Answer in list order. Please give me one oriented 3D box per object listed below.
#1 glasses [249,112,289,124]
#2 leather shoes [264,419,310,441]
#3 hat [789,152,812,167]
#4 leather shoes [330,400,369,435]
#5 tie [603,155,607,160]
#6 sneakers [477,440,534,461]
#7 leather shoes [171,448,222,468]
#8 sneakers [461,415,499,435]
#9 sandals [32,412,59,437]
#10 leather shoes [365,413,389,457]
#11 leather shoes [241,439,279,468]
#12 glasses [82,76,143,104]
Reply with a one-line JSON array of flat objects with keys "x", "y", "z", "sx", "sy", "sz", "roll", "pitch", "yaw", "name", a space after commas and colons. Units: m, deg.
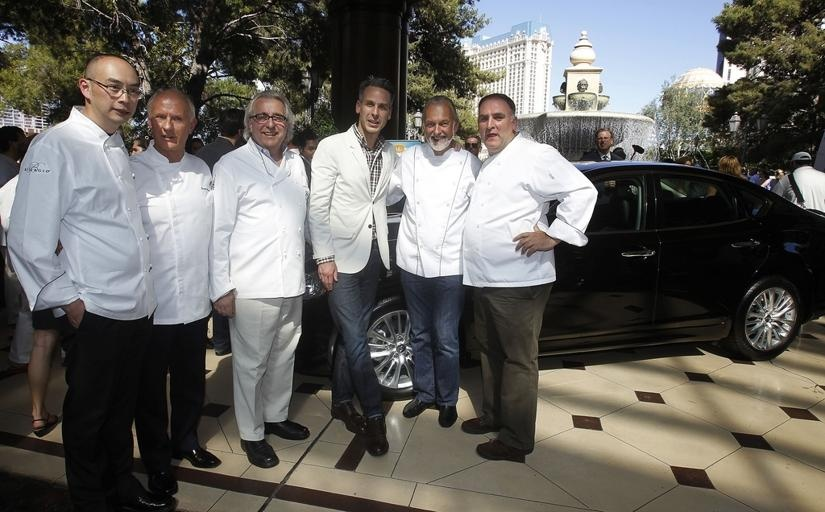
[{"x": -1.054, "y": -1.020, "z": 3.779, "sx": 0.267, "sy": 0.067, "sz": 0.069, "roll": -2, "pitch": 15, "yaw": -14, "name": "glasses"}, {"x": -0.994, "y": 1.406, "z": 4.195, "sx": 0.431, "sy": 0.175, "sz": 0.142, "roll": 1, "pitch": 5, "yaw": 2, "name": "leather shoes"}, {"x": 5.859, "y": -1.462, "z": 7.683, "sx": 0.302, "sy": 0.151, "sz": 0.425, "roll": 4, "pitch": 18, "yaw": 20, "name": "hat"}, {"x": -0.528, "y": 1.314, "z": 4.305, "sx": 0.417, "sy": 0.183, "sz": 0.142, "roll": 25, "pitch": 11, "yaw": 35, "name": "leather shoes"}, {"x": 2.758, "y": -1.412, "z": 7.309, "sx": 0.078, "sy": 0.051, "sz": 0.042, "roll": 2, "pitch": -1, "yaw": -36, "name": "tie"}, {"x": 0.715, "y": 1.510, "z": 3.940, "sx": 0.405, "sy": 0.141, "sz": 0.157, "roll": 8, "pitch": 2, "yaw": 5, "name": "sneakers"}, {"x": -1.597, "y": 1.516, "z": 3.902, "sx": 0.404, "sy": 0.156, "sz": 0.140, "roll": 6, "pitch": 1, "yaw": -6, "name": "leather shoes"}, {"x": 0.547, "y": 1.400, "z": 4.211, "sx": 0.331, "sy": 0.124, "sz": 0.129, "roll": 3, "pitch": -2, "yaw": 7, "name": "sneakers"}, {"x": -2.983, "y": 1.359, "z": 4.131, "sx": 0.100, "sy": 0.091, "sz": 0.253, "roll": -1, "pitch": 7, "yaw": -5, "name": "sandals"}, {"x": -0.267, "y": 1.410, "z": 3.934, "sx": 0.133, "sy": 0.137, "sz": 0.351, "roll": -1, "pitch": 0, "yaw": -5, "name": "leather shoes"}, {"x": -1.156, "y": 1.497, "z": 3.905, "sx": 0.359, "sy": 0.137, "sz": 0.134, "roll": 3, "pitch": 2, "yaw": 41, "name": "leather shoes"}, {"x": -1.952, "y": -1.079, "z": 3.309, "sx": 0.330, "sy": 0.161, "sz": 0.183, "roll": -8, "pitch": 17, "yaw": -32, "name": "glasses"}]
